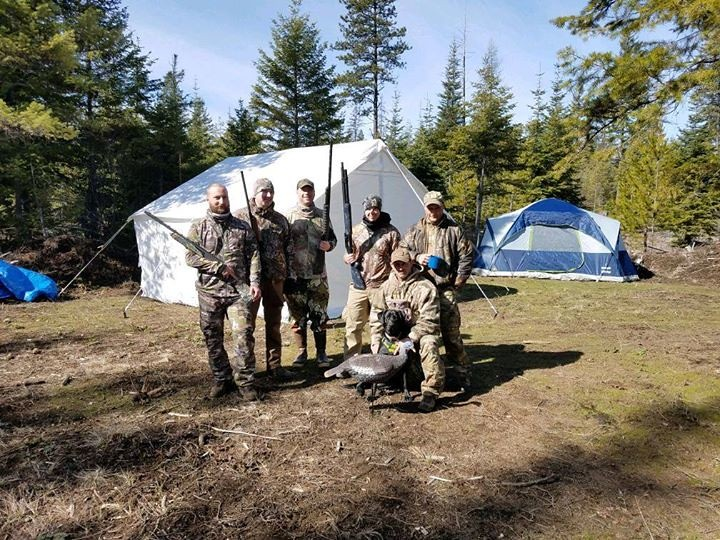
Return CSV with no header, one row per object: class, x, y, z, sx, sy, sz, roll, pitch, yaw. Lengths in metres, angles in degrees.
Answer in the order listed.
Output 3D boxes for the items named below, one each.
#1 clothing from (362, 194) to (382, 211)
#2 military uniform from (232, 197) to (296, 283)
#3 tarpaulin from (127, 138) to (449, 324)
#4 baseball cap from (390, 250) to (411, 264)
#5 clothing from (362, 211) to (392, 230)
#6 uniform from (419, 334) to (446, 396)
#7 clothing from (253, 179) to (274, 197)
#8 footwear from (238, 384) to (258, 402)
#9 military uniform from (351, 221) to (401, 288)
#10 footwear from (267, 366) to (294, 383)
clothing,0.223,-1.170,9.650,0.237,0.258,0.302,2,18,9
military uniform,-1.540,-0.496,9.540,0.619,2.204,0.439,-1,4,22
tarpaulin,-2.297,-1.477,16.637,7.249,3.840,6.084,-4,-4,34
baseball cap,0.671,-0.225,8.827,0.220,0.221,0.341,1,2,40
clothing,0.364,-0.859,9.769,0.289,0.226,0.376,-3,6,17
uniform,1.111,1.470,8.712,0.379,0.969,0.242,-1,2,4
clothing,-1.582,-1.380,9.479,0.304,0.248,0.240,-2,-4,30
footwear,-1.743,1.925,8.961,0.386,0.241,0.181,-1,2,11
military uniform,0.294,-0.240,9.533,1.014,1.337,0.727,1,-4,27
footwear,-1.333,1.780,9.689,0.529,0.236,0.194,-3,-1,24
